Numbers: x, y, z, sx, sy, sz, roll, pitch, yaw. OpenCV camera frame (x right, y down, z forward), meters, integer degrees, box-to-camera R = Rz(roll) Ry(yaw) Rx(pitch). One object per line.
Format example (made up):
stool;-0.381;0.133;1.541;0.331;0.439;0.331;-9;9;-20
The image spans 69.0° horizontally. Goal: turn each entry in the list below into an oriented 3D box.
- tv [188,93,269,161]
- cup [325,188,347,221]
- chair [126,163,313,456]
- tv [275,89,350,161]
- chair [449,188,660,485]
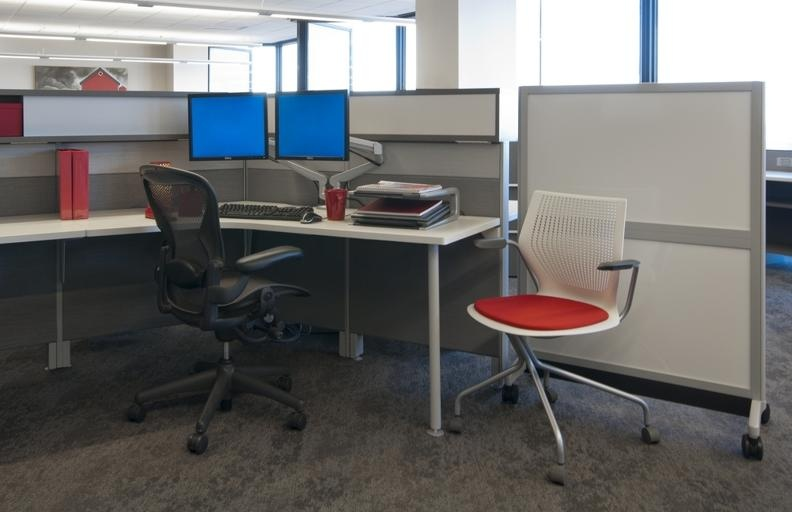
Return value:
tv;-1.157;-0.890;3.917;0.477;0.386;0.044;0;3;-5
cup;-0.374;-0.316;3.539;0.178;0.186;0.166;1;6;0
chair;-1.016;0.225;3.418;1.035;1.444;1.009;5;7;29
tv;-0.532;-0.859;3.778;0.496;0.403;0.050;2;6;21
chair;0.842;0.367;3.132;0.904;1.330;0.987;-13;17;-42
